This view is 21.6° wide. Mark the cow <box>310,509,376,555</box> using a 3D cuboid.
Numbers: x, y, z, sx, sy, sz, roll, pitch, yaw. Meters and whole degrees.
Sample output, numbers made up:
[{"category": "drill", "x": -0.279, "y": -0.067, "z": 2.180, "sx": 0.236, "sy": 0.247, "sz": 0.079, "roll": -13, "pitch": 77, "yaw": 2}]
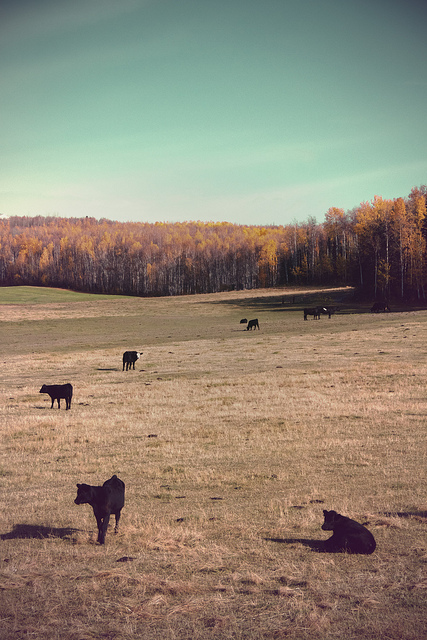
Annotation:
[{"category": "cow", "x": 2.464, "y": 4.003, "z": 20.923, "sx": 1.001, "sy": 0.792, "sz": 0.596, "roll": 3, "pitch": -5, "yaw": 41}]

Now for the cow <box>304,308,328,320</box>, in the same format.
[{"category": "cow", "x": 6.663, "y": -0.524, "z": 75.647, "sx": 1.210, "sy": 0.725, "sz": 2.516, "roll": 1, "pitch": 8, "yaw": 27}]

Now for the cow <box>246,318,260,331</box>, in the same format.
[{"category": "cow", "x": 2.378, "y": 0.227, "z": 69.089, "sx": 0.628, "sy": 0.647, "sz": 1.795, "roll": -2, "pitch": 7, "yaw": 8}]

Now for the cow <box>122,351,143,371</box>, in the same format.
[{"category": "cow", "x": -3.463, "y": 1.561, "z": 47.199, "sx": 0.406, "sy": 0.914, "sz": 0.962, "roll": 1, "pitch": -8, "yaw": -40}]

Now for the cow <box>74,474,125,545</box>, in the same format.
[{"category": "cow", "x": -2.082, "y": 3.714, "z": 21.840, "sx": 0.436, "sy": 1.273, "sz": 1.665, "roll": -1, "pitch": 2, "yaw": 29}]

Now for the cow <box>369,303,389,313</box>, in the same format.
[{"category": "cow", "x": 11.489, "y": -0.968, "z": 78.342, "sx": 0.685, "sy": 0.413, "sz": 0.920, "roll": -20, "pitch": 0, "yaw": -40}]
